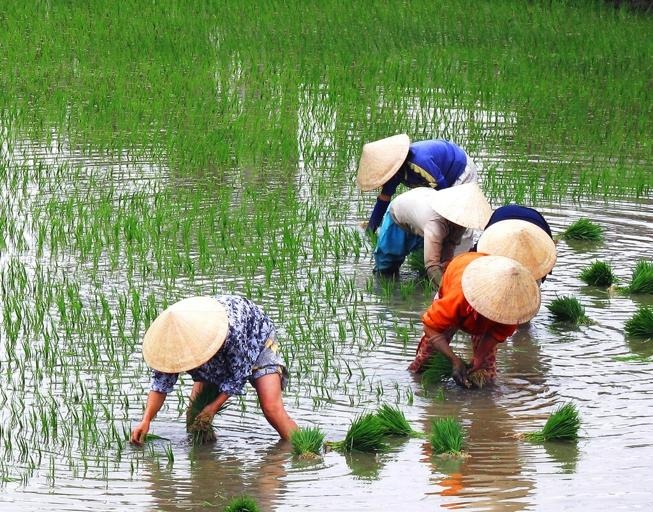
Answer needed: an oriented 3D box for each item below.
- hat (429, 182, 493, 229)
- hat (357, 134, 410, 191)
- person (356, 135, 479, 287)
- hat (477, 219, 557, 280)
[{"bbox_3d":[1.024,-0.339,9.757,0.375,0.175,0.367,36,39,17],"label":"hat"},{"bbox_3d":[0.495,-0.820,10.810,0.194,0.439,0.454,30,30,-24],"label":"hat"},{"bbox_3d":[0.772,-0.363,11.097,1.017,1.544,0.949,3,21,17],"label":"person"},{"bbox_3d":[1.419,-0.058,9.322,0.448,0.206,0.452,39,63,21],"label":"hat"}]
